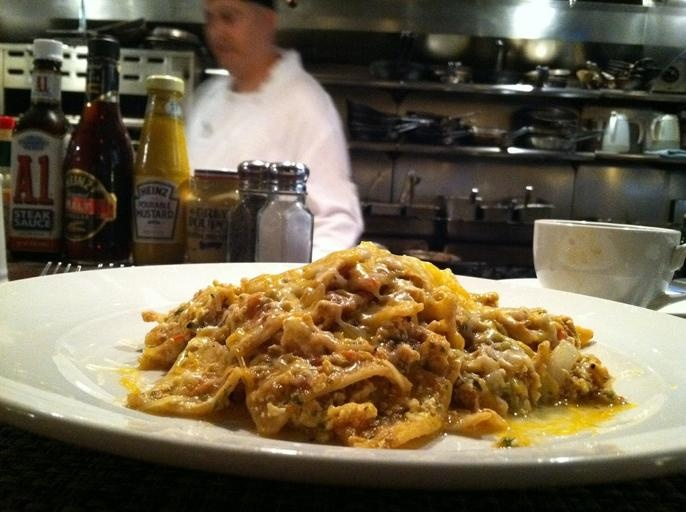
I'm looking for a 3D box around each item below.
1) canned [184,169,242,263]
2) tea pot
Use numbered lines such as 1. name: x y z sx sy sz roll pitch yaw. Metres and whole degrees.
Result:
1. canned: -0.298 -0.093 1.427 0.117 0.210 0.079 -1 9 -10
2. tea pot: 2.125 -0.892 4.442 0.544 0.327 0.423 2 8 10
